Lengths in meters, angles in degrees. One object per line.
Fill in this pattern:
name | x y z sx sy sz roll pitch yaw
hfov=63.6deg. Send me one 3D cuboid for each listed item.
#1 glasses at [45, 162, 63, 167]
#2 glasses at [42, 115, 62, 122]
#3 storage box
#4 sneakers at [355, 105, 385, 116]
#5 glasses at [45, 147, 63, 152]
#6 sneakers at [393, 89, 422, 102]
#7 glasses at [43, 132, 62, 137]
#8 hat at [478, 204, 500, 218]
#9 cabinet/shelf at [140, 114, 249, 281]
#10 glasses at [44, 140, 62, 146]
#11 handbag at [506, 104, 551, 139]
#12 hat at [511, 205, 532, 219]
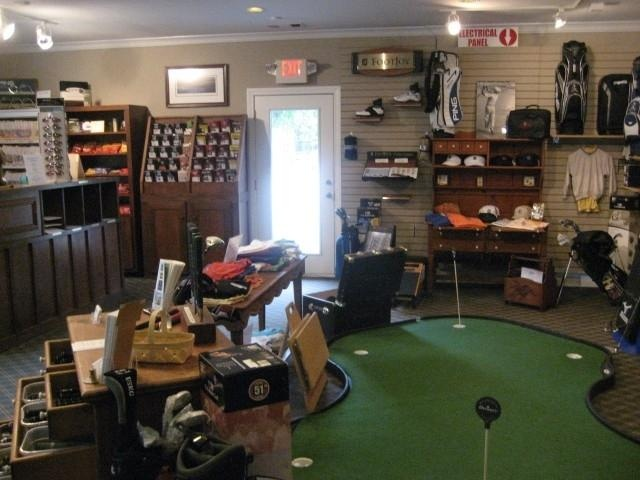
glasses | -3.432 -0.969 6.619 0.109 0.042 0.095 1 4 -9
glasses | -3.467 -1.570 6.640 0.215 0.079 0.045 -4 13 -19
storage box | 0.363 0.493 4.914 0.863 0.878 0.577 -3 13 -14
sneakers | 0.711 -1.839 7.397 0.404 0.158 0.148 2 7 0
glasses | -3.440 -1.160 6.631 0.232 0.078 0.046 -1 13 -7
sneakers | 1.255 -2.055 7.344 0.323 0.139 0.188 1 11 5
glasses | -3.478 -1.356 6.641 0.177 0.037 0.055 3 8 -6
hat | 2.378 -0.408 7.238 0.284 0.122 0.425 5 14 18
cabinet/shelf | -1.963 -0.654 7.976 1.640 2.496 0.619 5 13 17
glasses | -3.454 -1.267 6.652 0.142 0.048 0.114 3 20 3
handbag | 2.815 -1.499 7.064 0.666 0.626 0.393 3 5 25
hat | 2.830 -0.393 7.194 0.163 0.195 0.224 0 1 9
